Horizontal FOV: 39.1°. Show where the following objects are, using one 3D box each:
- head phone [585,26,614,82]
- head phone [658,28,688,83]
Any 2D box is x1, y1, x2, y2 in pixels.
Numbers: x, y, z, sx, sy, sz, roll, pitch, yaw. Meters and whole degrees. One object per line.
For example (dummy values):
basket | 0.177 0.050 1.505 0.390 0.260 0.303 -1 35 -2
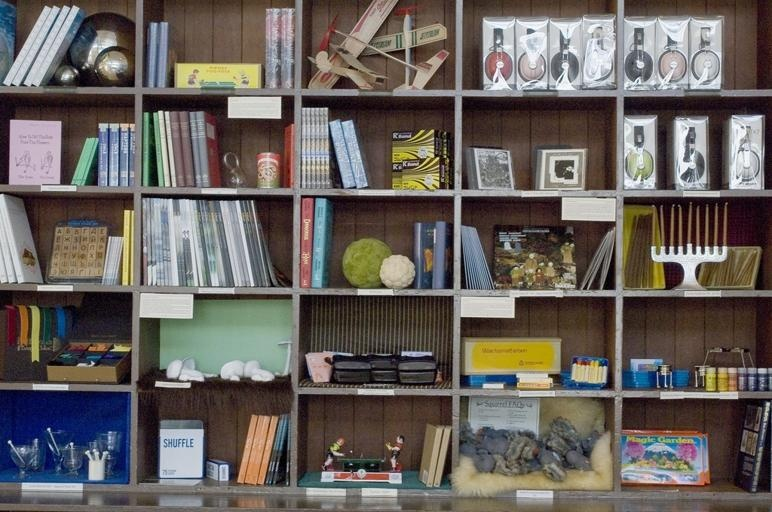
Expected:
head phone | 1.245 -1.169 6.319 0.179 0.296 0.087 -1 6 3
head phone | 1.657 -1.185 6.443 0.171 0.306 0.291 3 16 9
